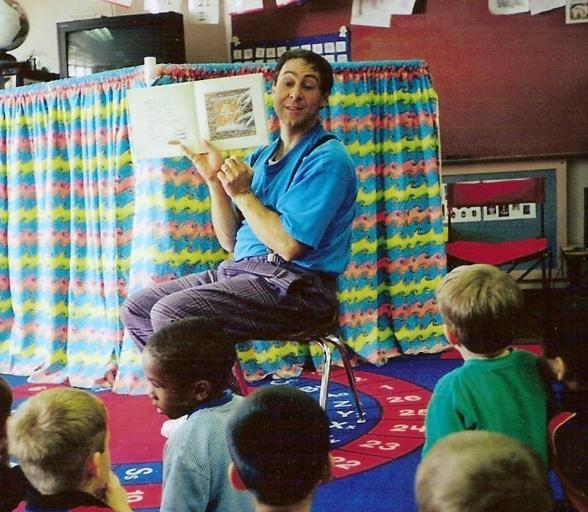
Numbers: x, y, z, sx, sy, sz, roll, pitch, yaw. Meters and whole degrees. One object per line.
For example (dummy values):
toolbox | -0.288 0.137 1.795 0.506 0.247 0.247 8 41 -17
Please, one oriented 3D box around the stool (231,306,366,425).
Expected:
stool | 0.047 0.329 2.160 0.396 0.300 0.423 -3 -1 -43

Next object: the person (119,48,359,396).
person | -0.153 -0.169 2.057 0.725 0.899 0.426 -7 11 -21
